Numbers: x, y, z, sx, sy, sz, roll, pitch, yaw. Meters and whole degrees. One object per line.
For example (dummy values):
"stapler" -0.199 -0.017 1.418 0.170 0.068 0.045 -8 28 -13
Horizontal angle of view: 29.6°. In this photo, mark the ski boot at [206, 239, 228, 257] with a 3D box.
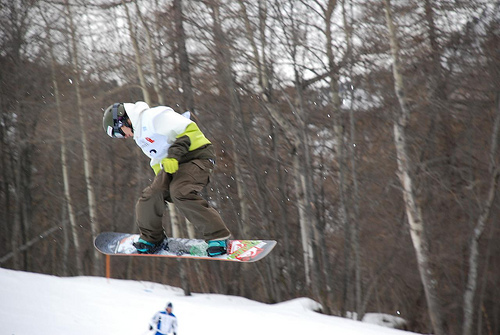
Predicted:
"ski boot" -0.763 1.877 21.680 0.304 0.333 0.421 0 -9 -3
